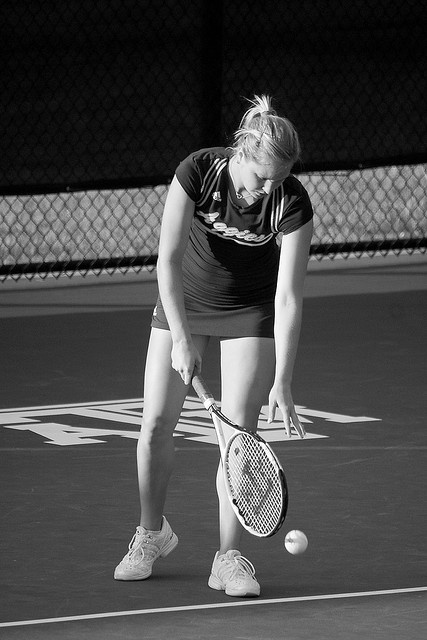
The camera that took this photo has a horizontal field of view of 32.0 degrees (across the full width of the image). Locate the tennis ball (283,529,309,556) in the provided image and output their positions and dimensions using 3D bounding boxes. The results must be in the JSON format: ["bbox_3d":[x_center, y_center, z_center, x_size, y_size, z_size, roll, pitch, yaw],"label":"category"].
[{"bbox_3d":[0.221,0.601,2.031,0.071,0.084,0.073,8,67,-19],"label":"tennis ball"}]

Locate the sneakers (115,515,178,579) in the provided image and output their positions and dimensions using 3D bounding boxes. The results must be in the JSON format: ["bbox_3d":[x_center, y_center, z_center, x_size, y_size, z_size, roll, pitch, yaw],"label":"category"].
[{"bbox_3d":[-0.197,0.647,2.117,0.083,0.109,0.238,-3,14,31],"label":"sneakers"}]

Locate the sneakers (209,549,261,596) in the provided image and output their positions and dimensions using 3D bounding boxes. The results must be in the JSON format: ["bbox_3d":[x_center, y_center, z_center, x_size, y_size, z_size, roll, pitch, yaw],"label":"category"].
[{"bbox_3d":[0.052,0.655,1.938,0.082,0.109,0.224,9,-8,-22],"label":"sneakers"}]
